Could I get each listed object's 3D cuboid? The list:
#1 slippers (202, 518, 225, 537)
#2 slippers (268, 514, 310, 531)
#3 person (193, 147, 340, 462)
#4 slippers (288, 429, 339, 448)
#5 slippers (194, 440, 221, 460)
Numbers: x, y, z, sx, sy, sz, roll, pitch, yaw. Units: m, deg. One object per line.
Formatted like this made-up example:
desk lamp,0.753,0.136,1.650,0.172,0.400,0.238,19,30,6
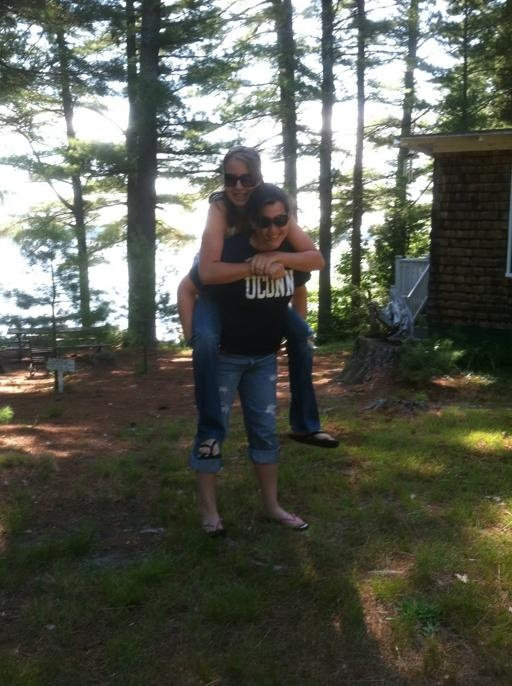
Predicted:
slippers,-0.225,0.987,3.250,0.056,0.057,0.157,-3,5,-34
slippers,0.185,1.007,3.426,0.182,0.042,0.072,0,5,39
person,-0.003,-0.183,3.254,0.759,1.657,0.410,-9,9,-39
slippers,0.342,0.569,3.538,0.308,0.097,0.107,1,7,22
slippers,-0.239,0.551,3.207,0.100,0.100,0.124,4,11,-33
